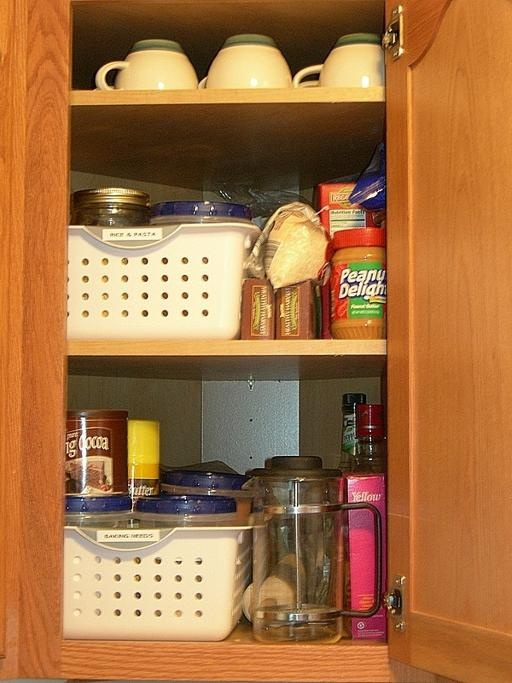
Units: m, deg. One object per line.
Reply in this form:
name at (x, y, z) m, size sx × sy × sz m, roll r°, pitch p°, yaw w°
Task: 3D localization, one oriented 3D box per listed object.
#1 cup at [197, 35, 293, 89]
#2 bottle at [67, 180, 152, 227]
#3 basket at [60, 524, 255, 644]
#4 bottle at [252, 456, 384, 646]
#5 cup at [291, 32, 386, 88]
cup at (-0.007, -0.380, 0.984) m, size 0.121 × 0.074 × 0.118 m, roll 1°, pitch 18°, yaw 0°
bottle at (-0.202, -0.181, 0.969) m, size 0.074 × 0.027 × 0.076 m, roll 1°, pitch 3°, yaw 0°
basket at (-0.124, 0.292, 0.879) m, size 0.196 × 0.081 × 0.140 m, roll -1°, pitch -13°, yaw 3°
bottle at (0.070, 0.281, 0.953) m, size 0.202 × 0.215 × 0.133 m, roll 0°, pitch -13°, yaw 2°
cup at (0.127, -0.364, 0.986) m, size 0.132 × 0.072 × 0.082 m, roll -1°, pitch -1°, yaw 27°
